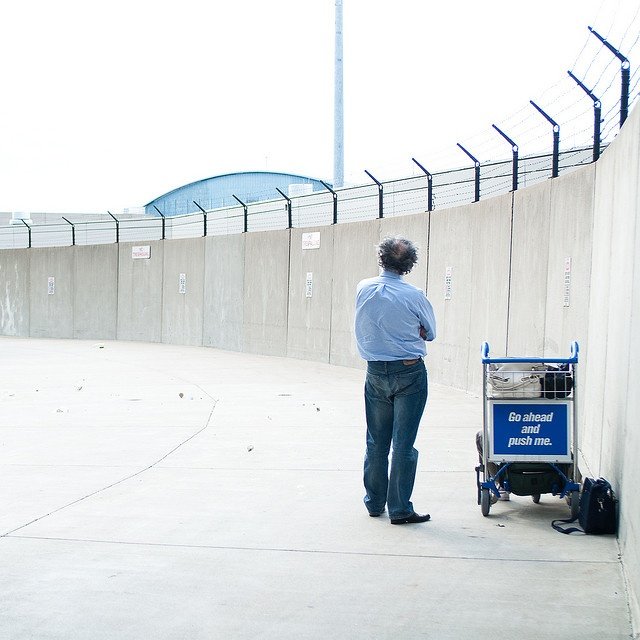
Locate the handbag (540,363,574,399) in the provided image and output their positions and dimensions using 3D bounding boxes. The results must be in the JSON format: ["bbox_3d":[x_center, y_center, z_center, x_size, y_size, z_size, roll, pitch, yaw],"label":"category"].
[{"bbox_3d":[1.506,0.420,6.399,0.195,0.174,0.054,1,4,8],"label":"handbag"}]

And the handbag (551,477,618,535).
[{"bbox_3d":[1.602,1.145,6.160,0.288,0.340,0.425,-1,4,-21],"label":"handbag"}]

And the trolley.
[{"bbox_3d":[1.358,0.711,6.638,0.621,1.128,0.695,-2,4,10],"label":"trolley"}]

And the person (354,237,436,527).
[{"bbox_3d":[0.460,0.392,6.555,0.388,1.836,0.497,1,0,-43],"label":"person"}]
